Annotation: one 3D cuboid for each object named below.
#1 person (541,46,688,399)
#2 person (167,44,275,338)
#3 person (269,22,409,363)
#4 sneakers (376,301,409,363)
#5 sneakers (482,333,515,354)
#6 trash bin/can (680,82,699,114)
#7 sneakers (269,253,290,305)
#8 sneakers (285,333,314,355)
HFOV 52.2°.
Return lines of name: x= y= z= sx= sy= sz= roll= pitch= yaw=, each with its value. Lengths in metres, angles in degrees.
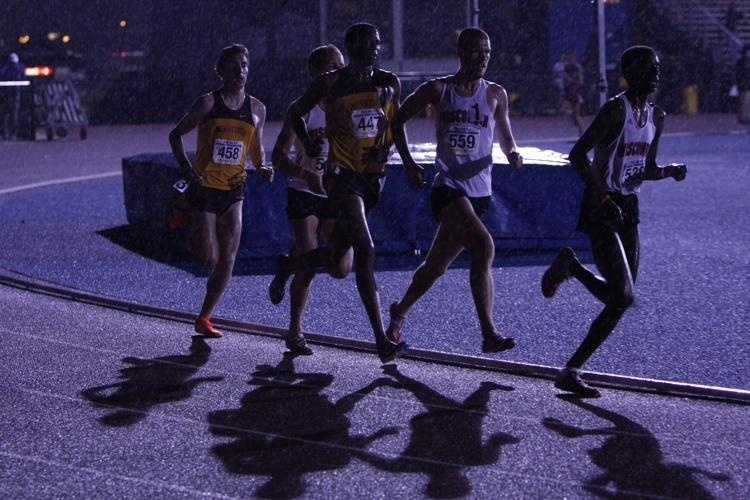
person: x=1.697 y=-0.214 z=5.404 sx=0.820 sy=2.385 sz=0.935 roll=5 pitch=12 yaw=23
person: x=-1.291 y=-0.468 z=6.434 sx=0.768 sy=2.427 sz=0.315 roll=-3 pitch=11 yaw=-19
person: x=-0.156 y=-0.471 z=5.736 sx=1.149 sy=2.383 sz=0.514 roll=9 pitch=13 yaw=37
sneakers: x=0.099 y=0.649 z=5.486 sx=0.138 sy=0.422 sz=0.311 roll=10 pitch=35 yaw=-15
sneakers: x=0.880 y=0.665 z=5.551 sx=0.279 sy=0.134 sz=0.109 roll=-12 pitch=28 yaw=27
trash bin/can: x=13.322 y=-6.524 z=32.360 sx=0.677 sy=1.274 sz=0.731 roll=-15 pitch=20 yaw=-13
sneakers: x=-0.746 y=0.229 z=6.114 sx=0.140 sy=0.460 sz=0.164 roll=13 pitch=4 yaw=18
sneakers: x=-0.571 y=0.762 z=6.168 sx=0.291 sy=0.158 sz=0.104 roll=12 pitch=9 yaw=34
